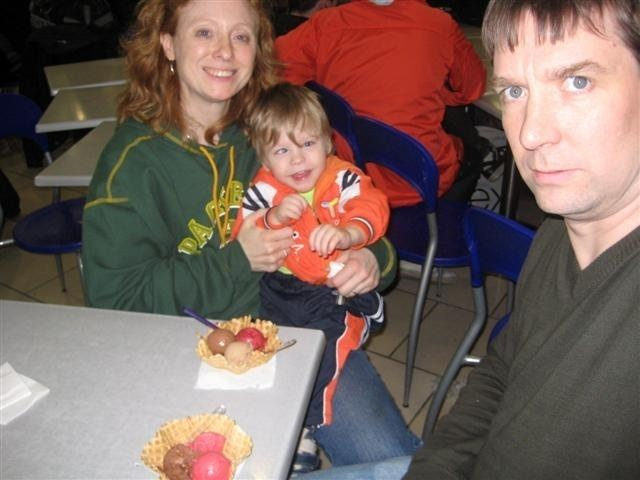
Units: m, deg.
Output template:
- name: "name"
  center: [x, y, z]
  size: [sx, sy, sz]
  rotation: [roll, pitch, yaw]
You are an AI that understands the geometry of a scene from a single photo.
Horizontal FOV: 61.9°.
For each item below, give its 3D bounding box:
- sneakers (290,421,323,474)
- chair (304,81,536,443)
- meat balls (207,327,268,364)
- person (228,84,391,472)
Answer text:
- name: "sneakers"
  center: [-0.032, 0.627, 1.598]
  size: [0.135, 0.114, 0.104]
  rotation: [1, 27, 0]
- name: "chair"
  center: [0.494, 0.211, 2.225]
  size: [0.865, 1.451, 0.851]
  rotation: [-11, 31, -20]
- name: "meat balls"
  center: [-0.207, 0.248, 1.295]
  size: [0.126, 0.071, 0.134]
  rotation: [2, 20, -1]
- name: "person"
  center: [-0.050, 0.163, 1.859]
  size: [0.492, 1.211, 0.473]
  rotation: [-23, 42, -39]
